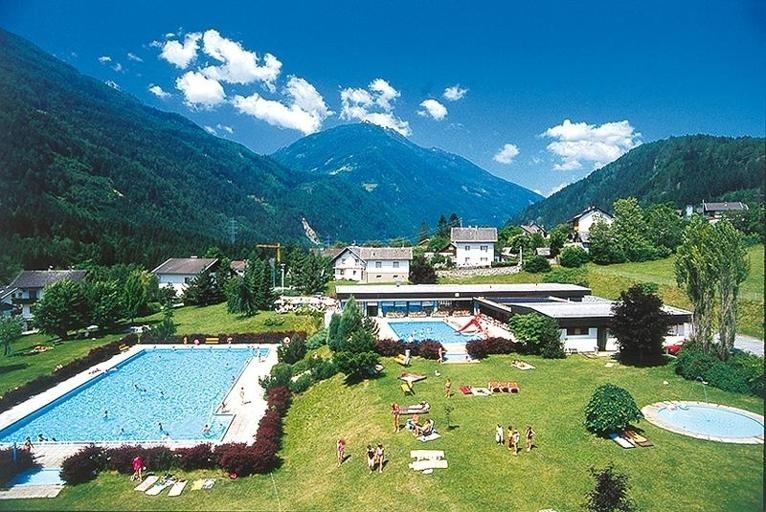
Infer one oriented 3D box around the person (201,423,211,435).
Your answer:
[{"bbox_3d":[-25.546,25.058,78.945,1.056,0.294,1.164,6,10,18],"label":"person"}]
